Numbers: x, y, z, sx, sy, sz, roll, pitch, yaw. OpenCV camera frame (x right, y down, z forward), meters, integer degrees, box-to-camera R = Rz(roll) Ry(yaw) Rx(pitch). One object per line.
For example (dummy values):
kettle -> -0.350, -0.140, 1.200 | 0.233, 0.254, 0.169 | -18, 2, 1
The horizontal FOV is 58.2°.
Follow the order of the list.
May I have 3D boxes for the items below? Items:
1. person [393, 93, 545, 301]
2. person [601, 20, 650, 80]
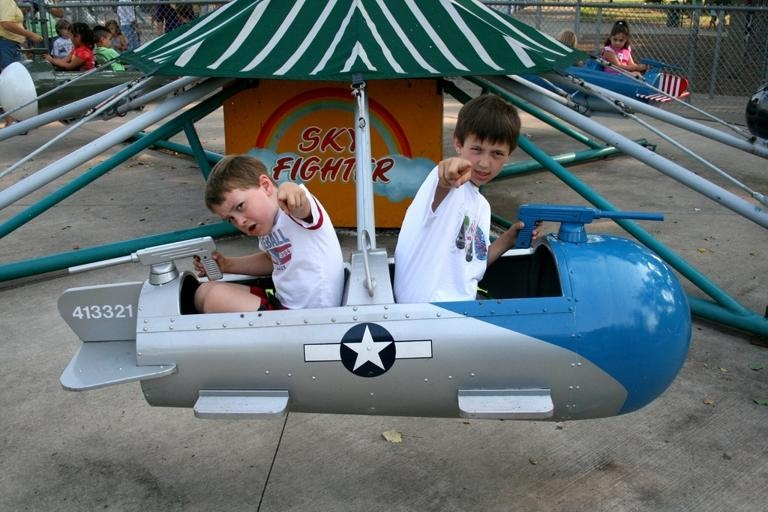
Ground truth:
person -> 0.378, -0.294, 3.835 | 0.550, 1.021, 0.839 | 10, 32, 18
person -> 3.630, -3.015, 10.243 | 0.805, 0.873, 0.555 | 11, 30, 26
